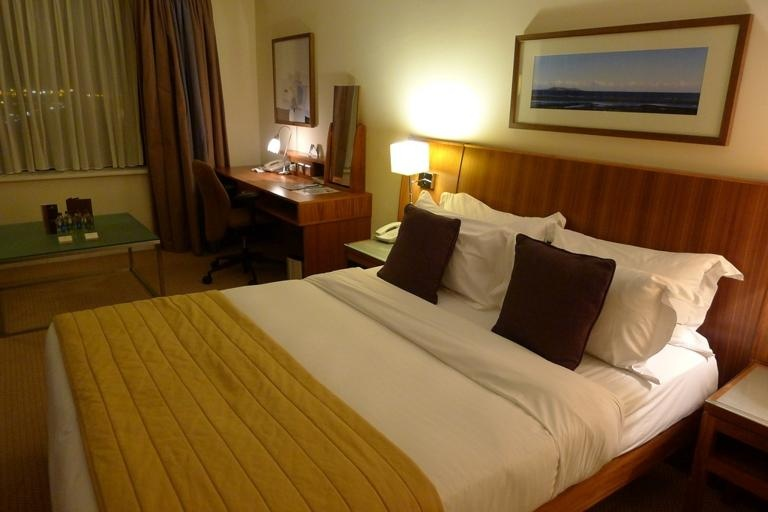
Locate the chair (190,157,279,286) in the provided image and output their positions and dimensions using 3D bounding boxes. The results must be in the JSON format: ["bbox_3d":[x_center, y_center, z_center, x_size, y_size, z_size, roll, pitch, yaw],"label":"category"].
[{"bbox_3d":[-1.406,-0.390,5.088,0.799,1.209,0.836,-7,15,-21],"label":"chair"}]

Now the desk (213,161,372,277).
[{"bbox_3d":[-0.980,-0.384,5.333,0.693,0.822,1.678,-12,24,-37],"label":"desk"}]

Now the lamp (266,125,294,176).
[{"bbox_3d":[-1.151,-1.192,5.662,0.273,0.493,0.258,9,10,20],"label":"lamp"}]

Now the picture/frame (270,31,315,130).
[{"bbox_3d":[-0.943,-1.859,5.351,0.104,1.086,0.867,-15,24,-36],"label":"picture/frame"}]
